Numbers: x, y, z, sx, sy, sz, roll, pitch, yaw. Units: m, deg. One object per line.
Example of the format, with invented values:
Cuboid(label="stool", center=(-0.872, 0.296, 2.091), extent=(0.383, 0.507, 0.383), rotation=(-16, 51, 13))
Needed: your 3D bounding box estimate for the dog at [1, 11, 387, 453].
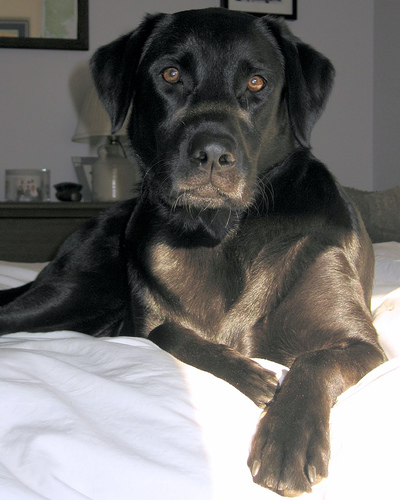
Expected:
Cuboid(label="dog", center=(0.010, -0.038, 1.325), extent=(0.614, 0.426, 0.907), rotation=(2, -9, 1))

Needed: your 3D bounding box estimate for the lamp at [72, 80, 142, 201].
Cuboid(label="lamp", center=(-0.416, -0.514, 3.036), extent=(0.448, 0.535, 0.366), rotation=(1, 3, 8))
